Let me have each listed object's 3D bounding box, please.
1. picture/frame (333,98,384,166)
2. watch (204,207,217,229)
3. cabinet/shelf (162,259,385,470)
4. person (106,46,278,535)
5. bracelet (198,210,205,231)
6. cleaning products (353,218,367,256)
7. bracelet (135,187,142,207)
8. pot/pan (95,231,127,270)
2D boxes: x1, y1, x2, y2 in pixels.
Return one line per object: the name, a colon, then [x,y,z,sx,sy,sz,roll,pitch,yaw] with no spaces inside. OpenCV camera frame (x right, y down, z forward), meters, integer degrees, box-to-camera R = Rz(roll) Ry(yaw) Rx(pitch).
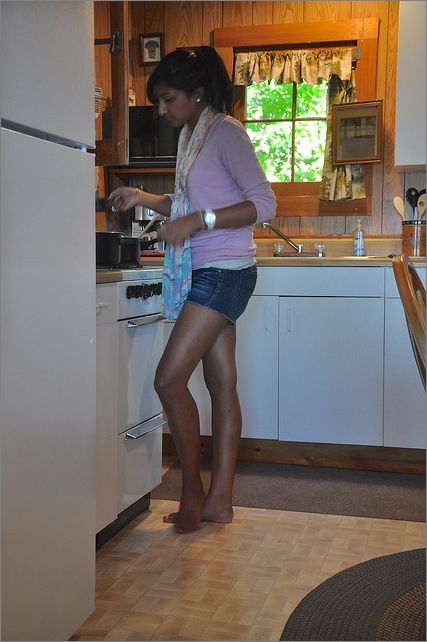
picture/frame: [0.831,-1.084,2.888,0.365,0.491,0.064,0,-1,21]
watch: [-0.010,-0.316,1.571,0.033,0.055,0.053,-4,2,-15]
cabinet/shelf: [0.313,0.166,2.178,0.962,0.848,0.363,0,1,14]
person: [-0.058,-0.091,1.760,0.466,1.624,0.438,0,-3,-11]
bracelet: [-0.035,-0.316,1.574,0.021,0.057,0.015,0,-3,-5]
cleaning products: [0.851,-0.492,2.945,0.058,0.244,0.121,-2,-3,19]
bracelet: [-0.273,-0.456,1.879,0.030,0.077,0.064,0,24,-1]
pot/pan: [-0.353,-0.241,1.768,0.105,0.147,0.144,-1,8,-11]
